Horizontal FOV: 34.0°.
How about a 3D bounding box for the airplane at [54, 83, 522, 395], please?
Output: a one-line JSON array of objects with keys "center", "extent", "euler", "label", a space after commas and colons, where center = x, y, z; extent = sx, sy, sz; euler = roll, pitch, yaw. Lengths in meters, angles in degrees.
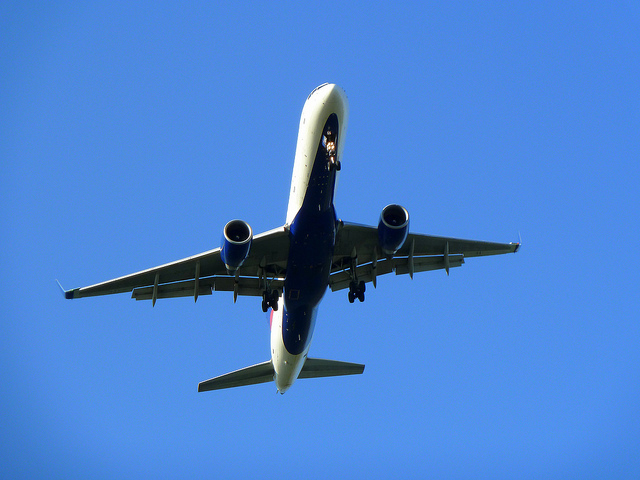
[{"center": [-0.162, 0.253, 39.824], "extent": [15.084, 12.746, 5.368], "euler": [-5, -77, 25], "label": "airplane"}]
